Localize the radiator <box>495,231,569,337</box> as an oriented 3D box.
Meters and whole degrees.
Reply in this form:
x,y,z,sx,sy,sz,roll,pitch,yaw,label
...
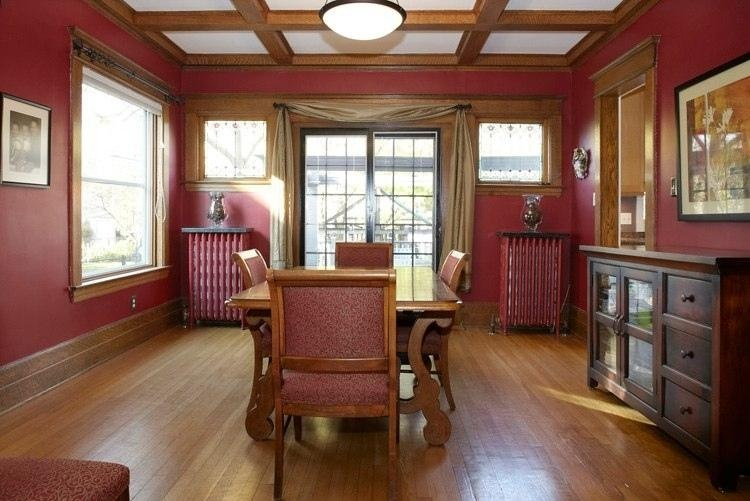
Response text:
x,y,z,sx,sy,sz,roll,pitch,yaw,label
1.847,0.355,6.288,0.896,1.182,0.467,-1,5,1,radiator

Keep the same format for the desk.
x,y,z,sx,sy,sz,roll,pitch,yaw,label
-0.166,0.983,4.624,1.819,1.125,2.049,-2,-12,-6,desk

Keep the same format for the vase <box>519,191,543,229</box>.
x,y,z,sx,sy,sz,roll,pitch,yaw,label
1.826,-0.459,6.364,0.229,0.435,0.392,1,6,19,vase

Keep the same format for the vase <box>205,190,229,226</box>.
x,y,z,sx,sy,sz,roll,pitch,yaw,label
-1.883,-0.510,6.476,0.238,0.428,0.320,-3,5,-16,vase
